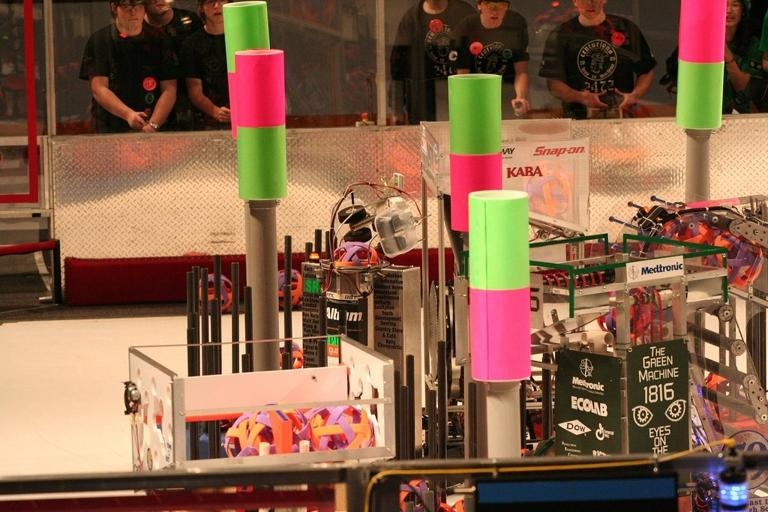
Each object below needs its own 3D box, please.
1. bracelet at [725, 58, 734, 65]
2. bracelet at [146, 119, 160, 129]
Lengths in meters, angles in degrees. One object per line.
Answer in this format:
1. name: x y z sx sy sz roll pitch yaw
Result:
1. bracelet: 3.667 -2.069 15.551 0.092 0.031 0.026 -2 -2 -7
2. bracelet: -2.429 -1.376 15.343 0.085 0.086 0.090 28 -13 16
